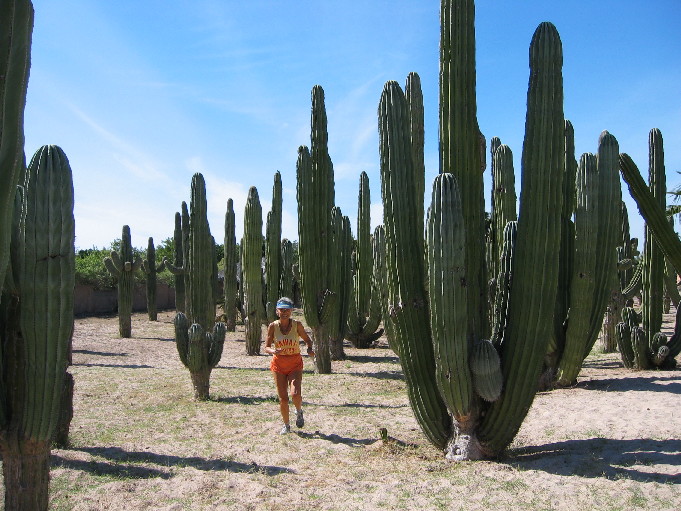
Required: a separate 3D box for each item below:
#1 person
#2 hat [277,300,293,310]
[{"bbox_3d":[-0.637,1.264,9.019,0.555,1.701,1.664,-1,7,-5],"label":"person"},{"bbox_3d":[-0.638,0.566,8.262,0.140,0.119,0.223,1,-7,-1],"label":"hat"}]
